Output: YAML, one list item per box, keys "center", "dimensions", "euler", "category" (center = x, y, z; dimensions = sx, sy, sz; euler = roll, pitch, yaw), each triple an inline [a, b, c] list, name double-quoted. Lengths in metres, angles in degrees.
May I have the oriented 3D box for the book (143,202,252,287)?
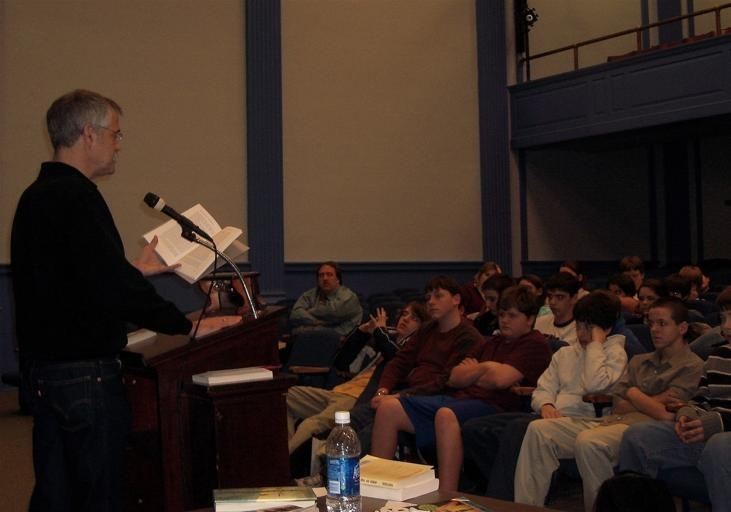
- center: [-0.790, -0.048, 3.128]
  dimensions: [0.397, 0.375, 0.128]
  euler: [-43, -11, -35]
  category: "book"
